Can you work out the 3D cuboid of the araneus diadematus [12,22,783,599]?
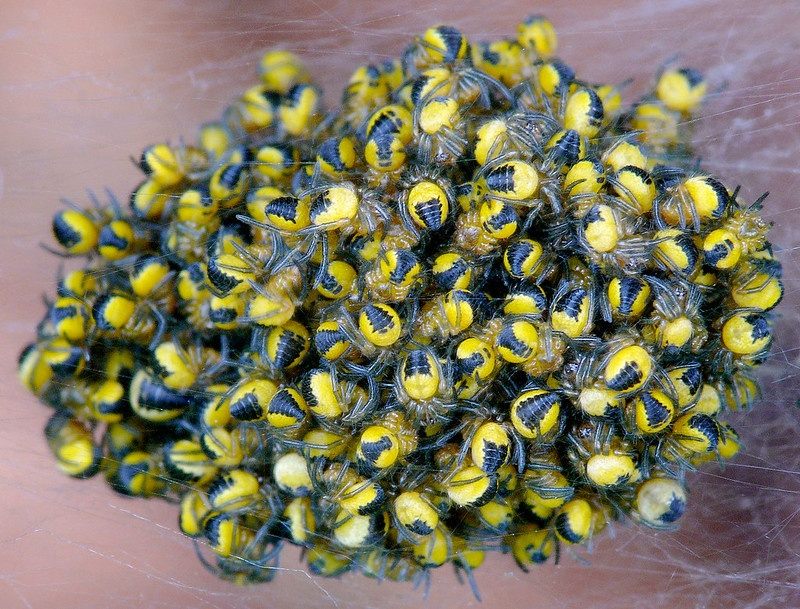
[{"bbox_3d":[0.024,0.061,1.560,0.890,0.398,0.666,-18,83,2],"label":"araneus diadematus"}]
